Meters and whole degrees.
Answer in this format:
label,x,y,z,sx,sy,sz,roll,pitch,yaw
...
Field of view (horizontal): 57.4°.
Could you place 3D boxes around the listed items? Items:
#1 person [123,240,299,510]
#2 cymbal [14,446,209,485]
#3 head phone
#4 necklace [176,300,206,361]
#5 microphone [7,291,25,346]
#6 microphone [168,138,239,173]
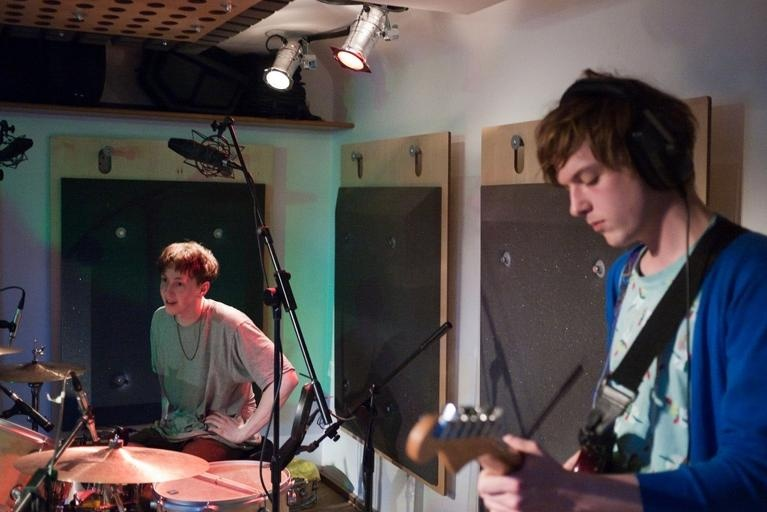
label,x,y,z,sx,sy,sz,roll,pitch,yaw
person,-0.959,0.639,4.428,1.115,1.531,1.114,-9,-11,27
cymbal,-1.195,0.891,2.999,0.420,0.076,0.445,7,-4,29
head phone,0.749,-0.375,2.182,0.382,0.360,0.126,0,-3,23
necklace,-1.134,0.450,4.130,0.171,0.267,0.061,-1,-9,7
microphone,-2.219,0.365,4.213,0.102,0.340,0.035,7,2,-3
microphone,-0.915,-0.511,3.536,0.284,0.198,0.417,3,-3,-27
